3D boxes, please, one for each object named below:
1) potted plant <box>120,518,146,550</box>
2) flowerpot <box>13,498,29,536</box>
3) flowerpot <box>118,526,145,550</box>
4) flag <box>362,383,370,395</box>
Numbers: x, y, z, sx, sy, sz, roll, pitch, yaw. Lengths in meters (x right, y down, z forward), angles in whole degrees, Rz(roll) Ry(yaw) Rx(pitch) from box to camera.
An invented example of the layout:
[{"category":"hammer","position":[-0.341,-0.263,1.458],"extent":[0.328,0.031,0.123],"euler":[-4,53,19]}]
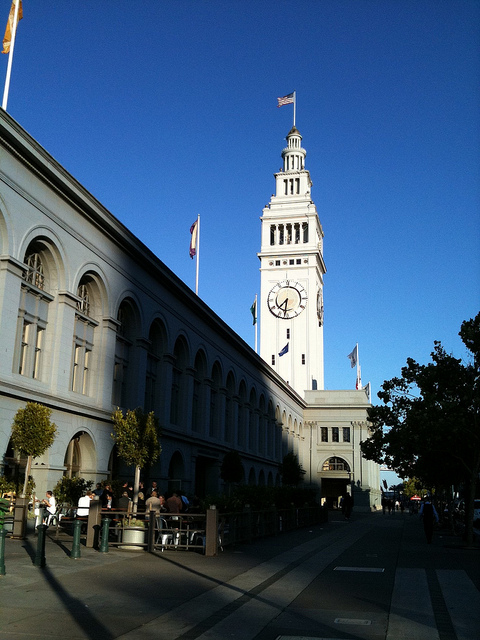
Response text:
[{"category":"potted plant","position":[-3.155,6.328,15.827],"extent":[0.536,0.798,0.590],"euler":[6,-11,-27]},{"category":"flowerpot","position":[-6.646,5.945,16.167],"extent":[0.423,1.042,1.883],"euler":[7,-20,-21]},{"category":"flowerpot","position":[-3.147,6.338,15.568],"extent":[0.543,0.884,0.658],"euler":[1,-8,1]},{"category":"flag","position":[19.910,10.835,83.811],"extent":[0.722,1.858,3.064],"euler":[-3,-19,13]}]
